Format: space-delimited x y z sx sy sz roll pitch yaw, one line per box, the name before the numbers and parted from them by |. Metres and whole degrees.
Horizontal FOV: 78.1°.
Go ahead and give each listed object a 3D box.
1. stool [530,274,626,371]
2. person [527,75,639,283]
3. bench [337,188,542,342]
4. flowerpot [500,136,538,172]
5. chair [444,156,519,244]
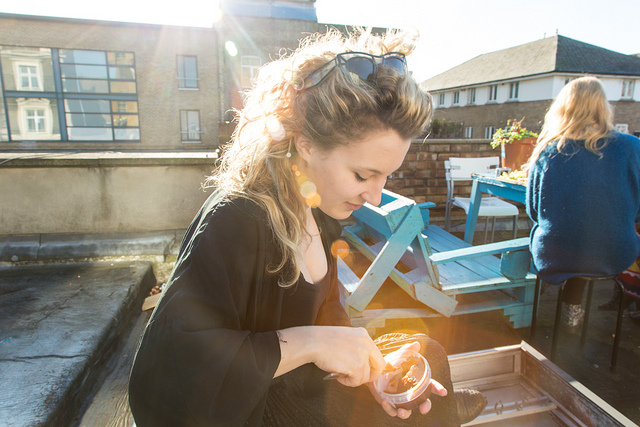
stool | 2.209 0.876 3.399 0.639 0.807 0.518 0 10 0
person | 2.245 -0.264 3.351 0.831 1.685 0.582 5 12 27
bench | 1.059 0.516 3.983 1.636 1.115 1.777 -5 13 -12
flowerpot | 2.614 -0.788 5.254 0.460 0.453 0.450 4 9 26
chair | 2.421 -0.148 5.886 0.852 1.345 0.872 -6 16 -12
